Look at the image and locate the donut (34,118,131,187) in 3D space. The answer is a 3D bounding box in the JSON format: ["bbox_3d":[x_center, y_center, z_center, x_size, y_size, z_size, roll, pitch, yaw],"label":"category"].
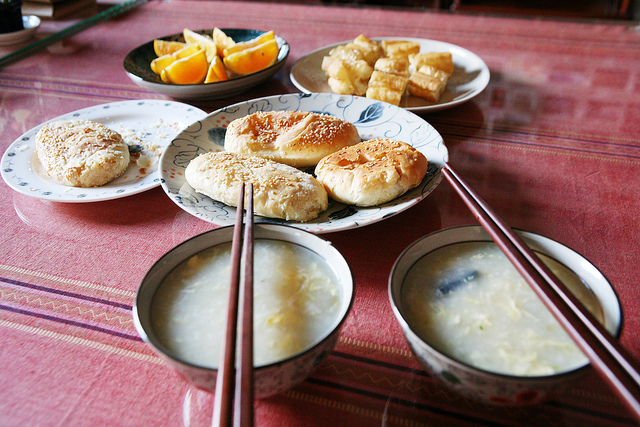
[{"bbox_3d":[-0.550,-0.146,1.135,0.184,0.053,0.124,43,49,14],"label":"donut"}]

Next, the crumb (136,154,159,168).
[{"bbox_3d":[-0.391,-0.118,1.147,0.028,0.009,0.037,29,48,17],"label":"crumb"}]

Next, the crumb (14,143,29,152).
[{"bbox_3d":[-0.670,-0.149,1.152,0.018,0.006,0.018,8,36,-12],"label":"crumb"}]

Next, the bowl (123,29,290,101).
[{"bbox_3d":[-0.330,-0.406,1.473,0.440,0.102,0.424,0,35,0],"label":"bowl"}]

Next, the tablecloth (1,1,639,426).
[{"bbox_3d":[-0.005,-0.011,0.958,0.781,0.536,0.722,-7,35,-6],"label":"tablecloth"}]

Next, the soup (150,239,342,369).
[{"bbox_3d":[-0.127,0.099,0.824,0.295,0.137,0.209,-6,16,-7],"label":"soup"}]

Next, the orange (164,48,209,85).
[{"bbox_3d":[-0.398,-0.418,1.451,0.133,0.110,0.092,-20,28,-37],"label":"orange"}]

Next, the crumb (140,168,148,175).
[{"bbox_3d":[-0.384,-0.095,1.116,0.016,0.005,0.015,-9,27,-24],"label":"crumb"}]

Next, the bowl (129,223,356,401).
[{"bbox_3d":[-0.106,0.154,0.759,0.298,0.133,0.296,0,34,0],"label":"bowl"}]

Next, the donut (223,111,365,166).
[{"bbox_3d":[-0.066,-0.175,1.130,0.244,0.064,0.147,7,33,13],"label":"donut"}]

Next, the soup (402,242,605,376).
[{"bbox_3d":[0.240,0.139,0.723,0.194,0.074,0.189,-2,34,3],"label":"soup"}]

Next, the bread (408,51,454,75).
[{"bbox_3d":[0.298,-0.413,1.367,0.083,0.040,0.079,0,33,5],"label":"bread"}]

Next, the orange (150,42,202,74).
[{"bbox_3d":[-0.406,-0.445,1.447,0.124,0.041,0.083,-29,52,-28],"label":"orange"}]

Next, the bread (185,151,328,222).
[{"bbox_3d":[-0.129,-0.064,1.029,0.300,0.076,0.160,20,33,25],"label":"bread"}]

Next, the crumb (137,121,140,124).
[{"bbox_3d":[-0.454,-0.230,1.279,0.006,0.002,0.006,-3,45,-4],"label":"crumb"}]

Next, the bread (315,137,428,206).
[{"bbox_3d":[0.098,-0.101,1.097,0.274,0.122,0.194,-7,9,0],"label":"bread"}]

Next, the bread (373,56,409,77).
[{"bbox_3d":[0.202,-0.405,1.374,0.070,0.021,0.071,15,45,21],"label":"bread"}]

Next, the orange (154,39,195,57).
[{"bbox_3d":[-0.432,-0.498,1.511,0.106,0.034,0.074,-12,46,-28],"label":"orange"}]

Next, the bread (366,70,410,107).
[{"bbox_3d":[0.165,-0.318,1.272,0.095,0.028,0.091,16,54,13],"label":"bread"}]

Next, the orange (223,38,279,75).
[{"bbox_3d":[-0.189,-0.444,1.453,0.174,0.074,0.096,-22,46,-15],"label":"orange"}]

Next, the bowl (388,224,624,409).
[{"bbox_3d":[0.265,0.155,0.754,0.290,0.128,0.286,-3,40,2],"label":"bowl"}]
